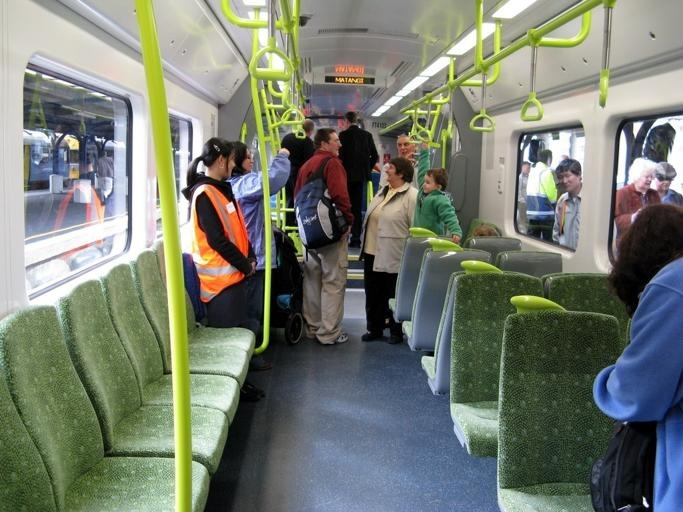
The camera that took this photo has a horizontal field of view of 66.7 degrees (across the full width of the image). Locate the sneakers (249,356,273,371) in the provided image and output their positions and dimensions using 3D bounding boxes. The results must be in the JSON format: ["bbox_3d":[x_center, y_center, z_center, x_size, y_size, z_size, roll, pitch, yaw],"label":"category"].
[{"bbox_3d":[-0.732,0.953,4.709,0.212,0.167,0.091,-2,9,-14],"label":"sneakers"}]

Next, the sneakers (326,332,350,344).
[{"bbox_3d":[-0.036,0.861,5.513,0.095,0.128,0.273,-5,-9,15],"label":"sneakers"}]

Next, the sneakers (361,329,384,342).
[{"bbox_3d":[0.335,0.866,5.714,0.265,0.201,0.094,2,3,-14],"label":"sneakers"}]

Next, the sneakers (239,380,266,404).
[{"bbox_3d":[-0.714,1.075,4.127,0.159,0.067,0.171,8,36,-4],"label":"sneakers"}]
